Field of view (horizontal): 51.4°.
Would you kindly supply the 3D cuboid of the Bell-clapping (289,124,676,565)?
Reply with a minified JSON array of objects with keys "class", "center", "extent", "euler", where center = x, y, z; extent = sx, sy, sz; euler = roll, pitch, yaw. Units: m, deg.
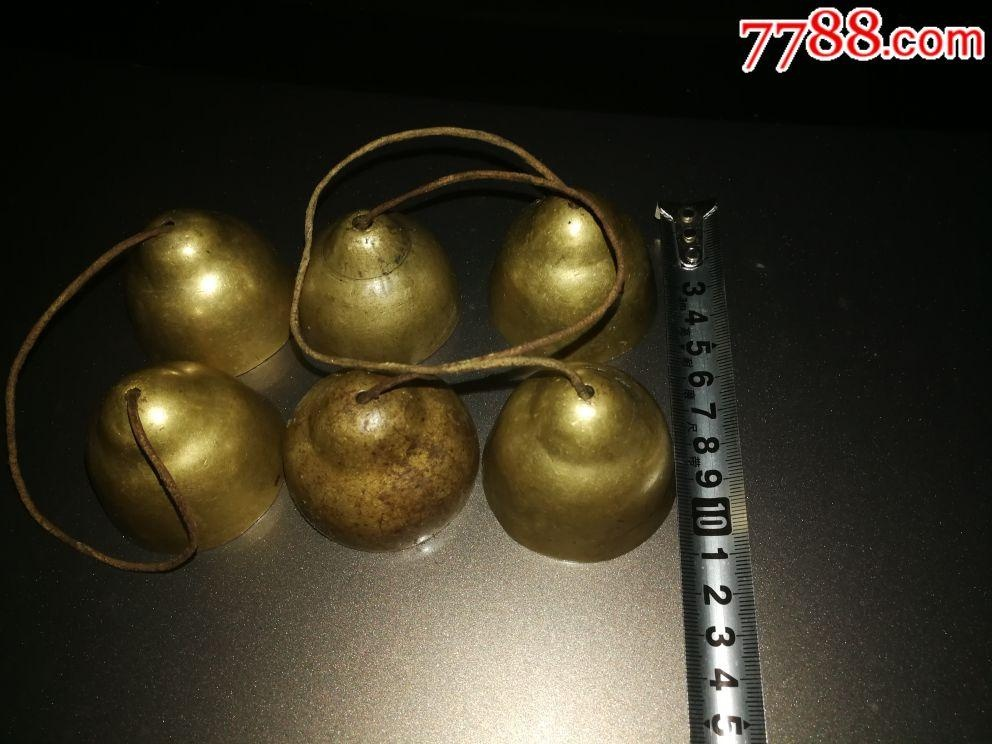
[{"class":"Bell-clapping","center":[0.068,-0.049,1.821],"extent":[0.491,0.228,0.776],"euler":[-29,57,-1]}]

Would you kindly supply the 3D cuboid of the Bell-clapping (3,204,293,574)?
[{"class":"Bell-clapping","center":[-0.542,0.046,1.663],"extent":[0.470,0.195,0.549],"euler":[-21,69,-9]}]
